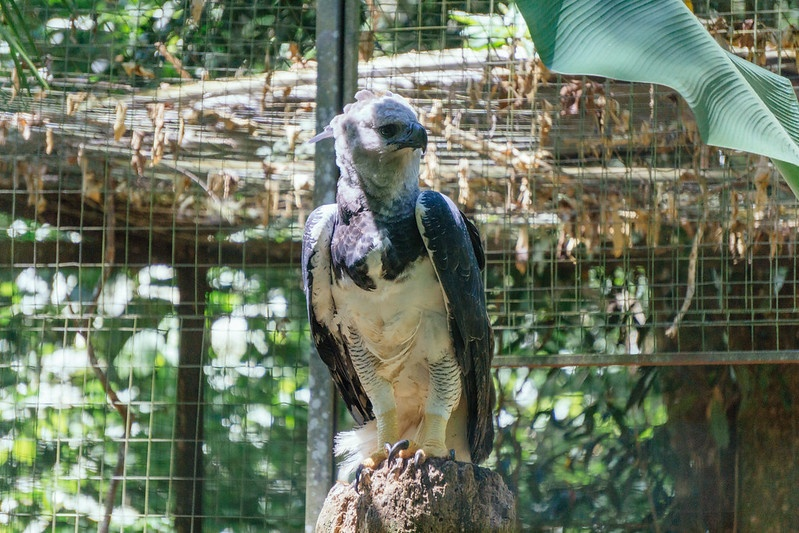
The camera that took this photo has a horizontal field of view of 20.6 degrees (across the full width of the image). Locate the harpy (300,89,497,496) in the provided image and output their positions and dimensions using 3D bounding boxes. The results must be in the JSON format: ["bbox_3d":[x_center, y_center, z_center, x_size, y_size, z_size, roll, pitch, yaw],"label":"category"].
[{"bbox_3d":[-0.032,0.123,15.909,1.356,2.678,0.858,-4,-1,1],"label":"harpy"}]
